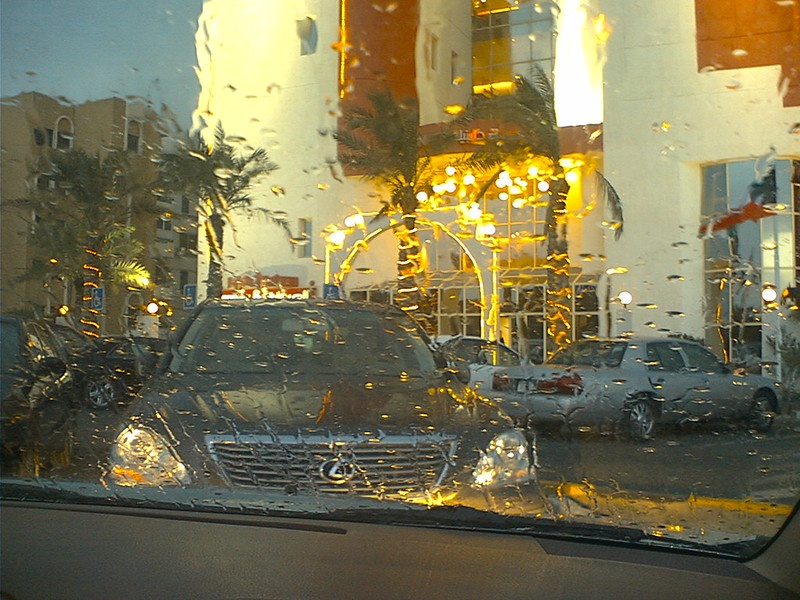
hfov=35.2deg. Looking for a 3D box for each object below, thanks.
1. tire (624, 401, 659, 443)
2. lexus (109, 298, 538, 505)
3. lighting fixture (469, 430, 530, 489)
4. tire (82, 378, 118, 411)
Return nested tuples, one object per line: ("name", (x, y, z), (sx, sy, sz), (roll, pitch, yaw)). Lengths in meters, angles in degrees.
("tire", (0.790, 0.400, 4.105), (0.171, 0.128, 0.064), (-11, -17, 33))
("lexus", (-0.380, 0.290, 5.030), (1.586, 0.648, 1.917), (1, 14, -6))
("lighting fixture", (0.362, 0.540, 4.248), (0.192, 0.169, 0.103), (17, -17, 25))
("tire", (-1.085, 0.345, 4.565), (0.174, 0.120, 0.061), (-1, 12, 38))
